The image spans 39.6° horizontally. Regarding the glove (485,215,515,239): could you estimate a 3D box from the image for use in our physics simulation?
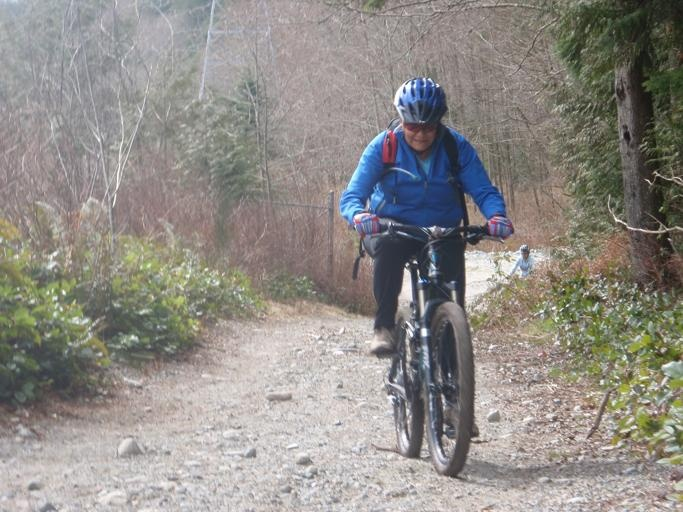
[{"bbox_3d":[1.657,-0.307,9.984,0.185,0.155,0.255,4,-2,-31],"label":"glove"}]

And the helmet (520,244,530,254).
[{"bbox_3d":[3.393,-0.129,17.591,0.124,0.208,0.190,4,11,7],"label":"helmet"}]

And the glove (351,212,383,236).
[{"bbox_3d":[0.262,-0.338,10.045,0.318,0.235,0.218,0,12,11],"label":"glove"}]

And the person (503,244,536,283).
[{"bbox_3d":[3.487,0.143,18.691,0.438,1.076,0.444,0,-15,22],"label":"person"}]
